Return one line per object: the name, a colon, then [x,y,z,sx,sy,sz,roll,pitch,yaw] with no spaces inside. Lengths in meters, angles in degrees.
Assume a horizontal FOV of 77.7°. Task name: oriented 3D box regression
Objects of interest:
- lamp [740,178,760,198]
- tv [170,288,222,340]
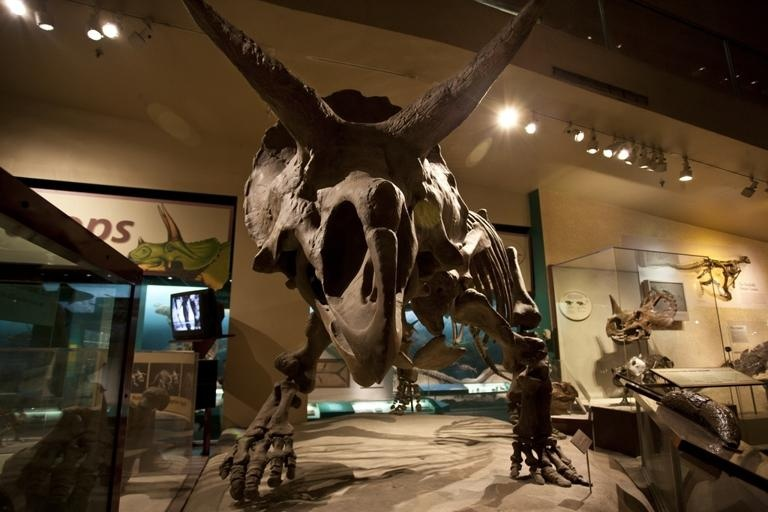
lamp: [4.095,-0.770,5.385,0.127,0.092,0.251,30,-29,32]
tv: [-1.953,0.583,4.601,0.506,0.476,0.562,-7,-6,37]
